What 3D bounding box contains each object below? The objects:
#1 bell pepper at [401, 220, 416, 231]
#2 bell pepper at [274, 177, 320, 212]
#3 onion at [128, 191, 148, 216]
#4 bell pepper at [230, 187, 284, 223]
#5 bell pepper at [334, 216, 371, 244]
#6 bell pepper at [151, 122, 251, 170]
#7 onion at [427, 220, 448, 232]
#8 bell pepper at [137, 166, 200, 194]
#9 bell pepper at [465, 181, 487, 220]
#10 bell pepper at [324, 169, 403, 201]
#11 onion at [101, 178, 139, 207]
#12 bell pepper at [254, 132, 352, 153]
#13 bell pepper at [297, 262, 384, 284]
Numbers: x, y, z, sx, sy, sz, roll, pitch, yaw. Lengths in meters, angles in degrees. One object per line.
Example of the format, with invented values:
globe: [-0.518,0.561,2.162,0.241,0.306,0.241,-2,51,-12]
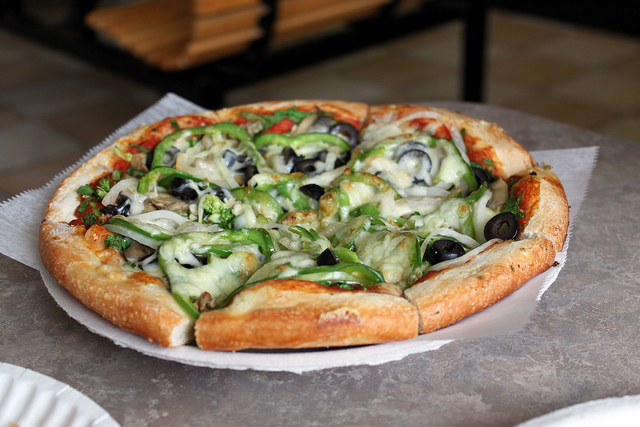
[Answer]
bell pepper: [0.280,0.038,1.817,0.035,0.032,0.029,0,97,11]
bell pepper: [-0.080,-0.065,1.999,0.141,0.036,0.103,29,69,-1]
onion: [-0.615,-0.034,1.928,0.059,0.026,0.067,6,69,-16]
bell pepper: [-0.206,-0.042,2.019,0.252,0.191,0.098,-2,102,-11]
bell pepper: [0.105,0.029,1.787,0.099,0.070,0.023,-23,79,-23]
bell pepper: [-0.473,-0.268,2.242,0.329,0.059,0.167,-19,80,-12]
onion: [0.371,0.039,1.812,0.042,0.012,0.041,41,72,18]
bell pepper: [-0.560,-0.103,2.070,0.277,0.194,0.067,-1,92,26]
bell pepper: [0.520,-0.044,1.825,0.041,0.054,0.214,20,28,18]
bell pepper: [0.139,-0.106,2.065,0.280,0.193,0.068,-7,69,9]
onion: [-0.684,-0.076,1.973,0.070,0.028,0.120,17,38,24]
bell pepper: [-0.057,-0.280,2.196,0.305,0.087,0.041,-2,34,-9]
bell pepper: [0.045,0.157,1.521,0.156,0.029,0.053,9,100,-16]
